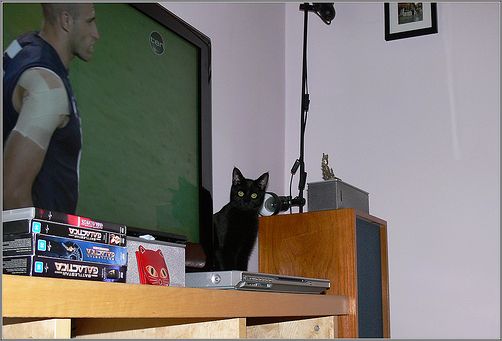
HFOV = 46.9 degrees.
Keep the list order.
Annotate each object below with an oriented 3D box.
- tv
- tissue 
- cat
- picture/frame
[{"bbox_3d":[-0.470,-0.096,1.805,0.100,0.849,0.810,-7,-12,28],"label":"tv"},{"bbox_3d":[-0.295,0.283,1.784,0.039,0.165,0.167,-12,-15,35],"label":"tissue "},{"bbox_3d":[-0.063,0.254,2.779,0.171,0.550,0.529,3,4,-12],"label":"cat"},{"bbox_3d":[0.909,-0.824,3.221,0.205,0.230,0.016,-1,-10,7],"label":"picture/frame"}]
